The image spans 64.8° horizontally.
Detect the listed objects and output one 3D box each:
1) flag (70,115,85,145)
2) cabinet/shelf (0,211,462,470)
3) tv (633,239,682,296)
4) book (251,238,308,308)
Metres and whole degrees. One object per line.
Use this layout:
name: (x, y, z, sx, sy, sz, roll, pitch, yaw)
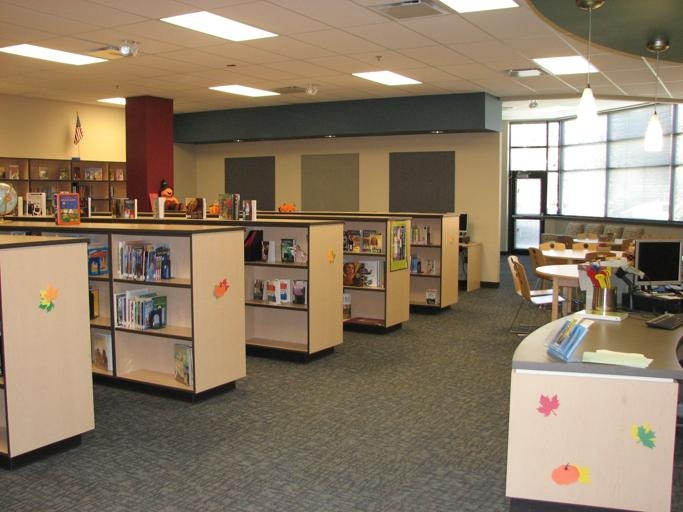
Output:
flag: (-6.164, -3.017, 12.557, 0.235, 0.726, 0.685, -4, 8, -25)
cabinet/shelf: (-1.788, 0.236, 8.271, 4.353, 1.824, 6.001, 6, 10, 37)
tv: (3.285, 0.125, 5.601, 0.572, 0.538, 0.056, 1, -1, -7)
book: (-0.781, 0.203, 6.969, 0.948, 0.874, 0.367, 1, 0, 32)
